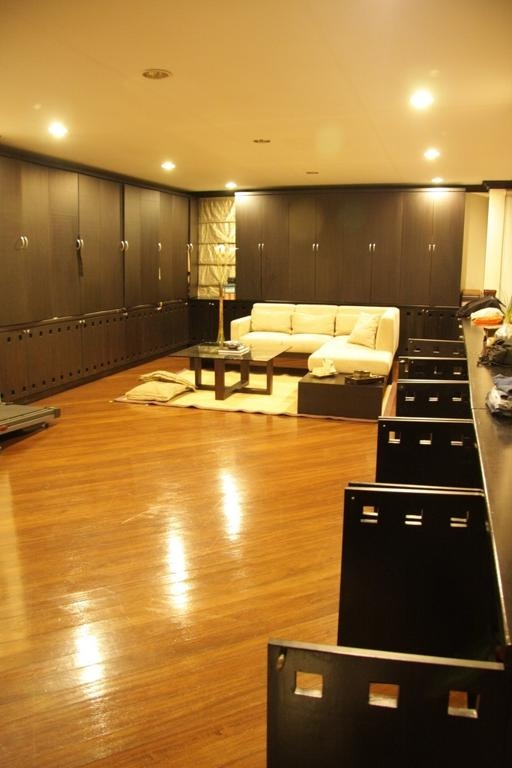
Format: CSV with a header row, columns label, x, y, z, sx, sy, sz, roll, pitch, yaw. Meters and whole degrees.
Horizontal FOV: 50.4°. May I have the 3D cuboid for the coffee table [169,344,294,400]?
label,x,y,z,sx,sy,sz,roll,pitch,yaw
coffee table,-0.297,-0.198,6.151,0.840,0.428,0.896,2,14,14

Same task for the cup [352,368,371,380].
label,x,y,z,sx,sy,sz,roll,pitch,yaw
cup,1.016,-0.092,5.268,0.109,0.078,0.115,1,5,0

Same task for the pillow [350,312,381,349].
label,x,y,z,sx,sy,sz,roll,pitch,yaw
pillow,1.365,-0.664,6.624,0.122,0.418,0.403,21,-9,-30

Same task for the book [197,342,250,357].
label,x,y,z,sx,sy,sz,roll,pitch,yaw
book,-0.403,-0.386,6.117,0.599,0.131,0.601,1,9,6
